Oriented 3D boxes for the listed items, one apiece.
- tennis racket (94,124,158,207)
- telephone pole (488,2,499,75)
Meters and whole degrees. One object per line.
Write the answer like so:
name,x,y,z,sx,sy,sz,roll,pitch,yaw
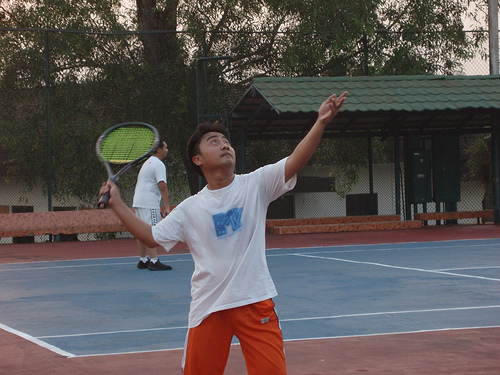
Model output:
tennis racket,-1.235,-0.164,6.108,0.554,0.097,1.418,-5,-30,-28
telephone pole,7.058,-4.329,18.932,0.263,2.062,0.448,0,5,22
